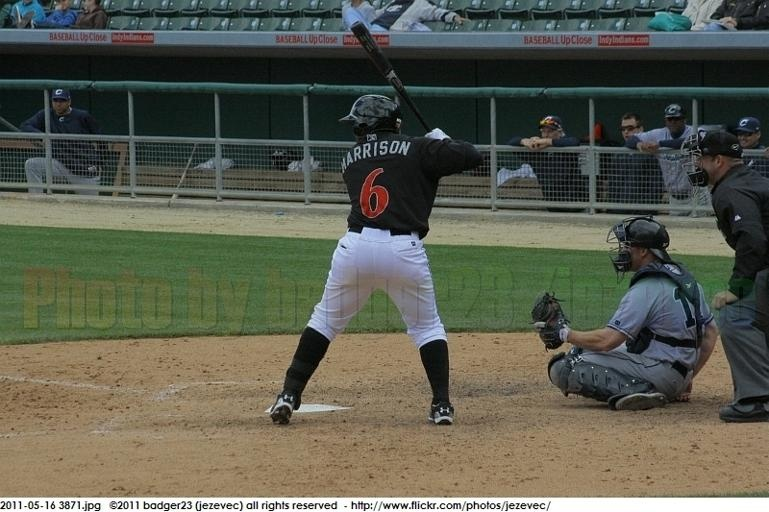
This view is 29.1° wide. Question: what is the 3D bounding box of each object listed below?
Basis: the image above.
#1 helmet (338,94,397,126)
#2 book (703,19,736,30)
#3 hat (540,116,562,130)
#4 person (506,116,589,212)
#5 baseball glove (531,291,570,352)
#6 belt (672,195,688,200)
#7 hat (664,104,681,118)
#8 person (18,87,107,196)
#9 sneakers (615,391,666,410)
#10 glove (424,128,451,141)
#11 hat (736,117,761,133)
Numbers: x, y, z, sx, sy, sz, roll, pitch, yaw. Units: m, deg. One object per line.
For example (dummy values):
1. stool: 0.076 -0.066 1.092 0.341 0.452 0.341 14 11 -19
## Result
1. helmet: -0.154 -1.475 15.043 0.570 0.223 0.313 2 4 6
2. book: 5.079 -3.480 22.423 0.288 0.087 0.280 -1 4 -45
3. hat: 2.547 -1.964 21.889 0.337 0.140 0.231 17 -4 -42
4. person: 2.366 -1.362 21.898 1.133 1.376 0.606 0 3 4
5. baseball glove: 1.711 0.668 15.163 0.331 0.534 0.443 -20 -23 19
6. belt: 4.254 -0.846 21.286 0.179 0.072 0.034 3 6 9
7. hat: 4.126 -2.059 21.056 0.235 0.180 0.264 0 3 5
8. person: -5.073 -1.792 23.329 1.228 1.644 0.525 0 3 -6
9. sneakers: 2.622 1.481 15.117 0.448 0.198 0.160 -4 41 -3
10. glove: 0.548 -1.192 14.898 0.217 0.072 0.199 1 11 -31
11. hat: 4.965 -1.773 20.059 0.347 0.155 0.227 0 5 -34
